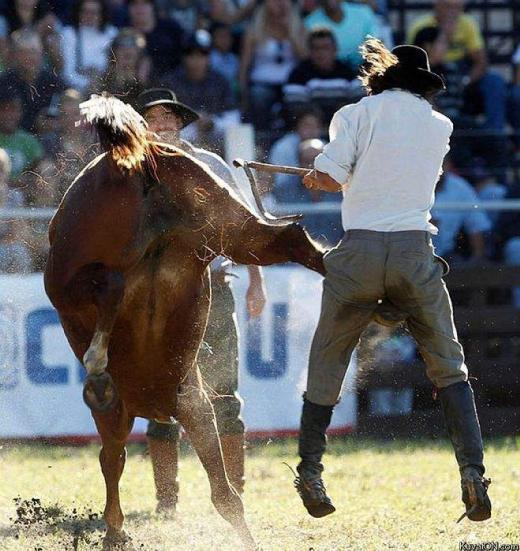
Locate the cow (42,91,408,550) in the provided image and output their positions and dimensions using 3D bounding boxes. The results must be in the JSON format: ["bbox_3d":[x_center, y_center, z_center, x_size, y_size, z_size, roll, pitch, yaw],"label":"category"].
[{"bbox_3d":[-0.127,0.403,7.103,0.929,2.674,1.854,-25,38,-26],"label":"cow"}]

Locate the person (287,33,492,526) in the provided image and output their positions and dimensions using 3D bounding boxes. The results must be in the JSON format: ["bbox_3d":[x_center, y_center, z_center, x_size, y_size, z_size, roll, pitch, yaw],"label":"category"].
[{"bbox_3d":[0.638,0.006,6.447,0.896,2.276,0.657,1,7,2],"label":"person"}]

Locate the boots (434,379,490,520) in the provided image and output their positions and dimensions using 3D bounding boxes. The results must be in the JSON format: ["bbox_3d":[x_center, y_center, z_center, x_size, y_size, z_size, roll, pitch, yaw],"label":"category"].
[{"bbox_3d":[0.963,0.857,6.409,0.254,0.711,0.392,1,7,6],"label":"boots"}]
